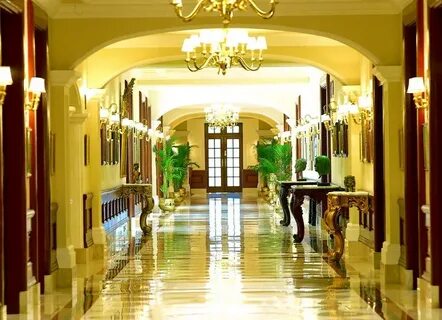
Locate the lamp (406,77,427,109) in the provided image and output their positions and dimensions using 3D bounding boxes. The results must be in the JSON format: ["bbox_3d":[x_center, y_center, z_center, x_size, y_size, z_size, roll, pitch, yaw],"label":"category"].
[{"bbox_3d":[2.506,-0.855,4.770,0.208,0.369,0.530,-2,0,29],"label":"lamp"}]

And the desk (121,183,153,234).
[{"bbox_3d":[-2.176,1.347,9.893,0.810,1.286,0.719,-3,-17,-3],"label":"desk"}]

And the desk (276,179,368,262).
[{"bbox_3d":[2.238,1.243,8.094,1.232,1.124,3.055,-2,0,3],"label":"desk"}]
